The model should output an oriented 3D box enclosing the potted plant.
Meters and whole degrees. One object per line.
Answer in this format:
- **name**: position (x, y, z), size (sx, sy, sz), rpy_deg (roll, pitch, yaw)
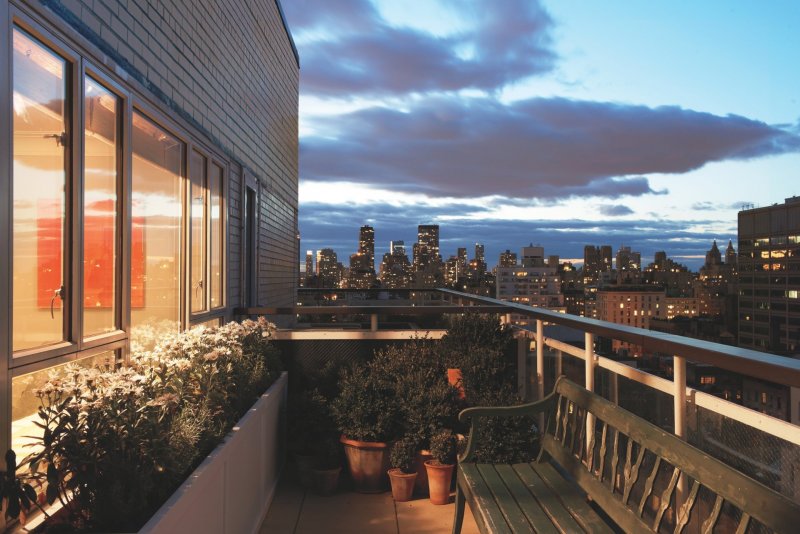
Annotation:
- **potted plant**: position (-0.012, 0.958, 4.846), size (1.472, 0.893, 1.497), rpy_deg (-2, -1, -7)
